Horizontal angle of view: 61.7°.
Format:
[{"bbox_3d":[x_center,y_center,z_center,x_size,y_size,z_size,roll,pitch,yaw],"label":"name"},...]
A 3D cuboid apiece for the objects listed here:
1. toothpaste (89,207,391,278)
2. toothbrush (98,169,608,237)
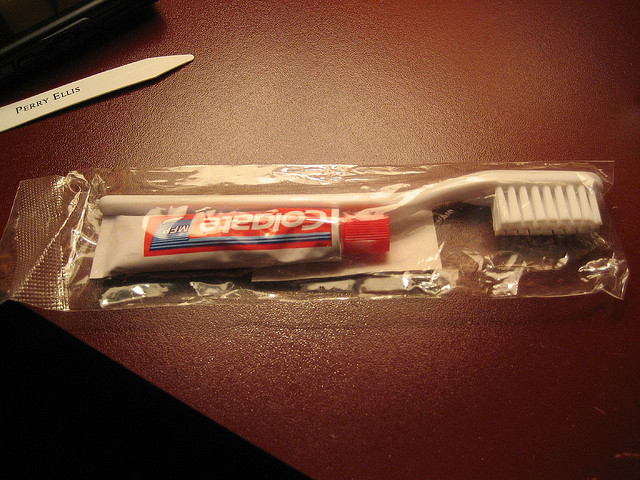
[{"bbox_3d":[-0.100,0.002,0.677,0.377,0.087,0.070,-2,-26,3],"label":"toothpaste"},{"bbox_3d":[0.039,-0.048,0.683,0.632,0.088,0.037,0,-9,2],"label":"toothbrush"}]
